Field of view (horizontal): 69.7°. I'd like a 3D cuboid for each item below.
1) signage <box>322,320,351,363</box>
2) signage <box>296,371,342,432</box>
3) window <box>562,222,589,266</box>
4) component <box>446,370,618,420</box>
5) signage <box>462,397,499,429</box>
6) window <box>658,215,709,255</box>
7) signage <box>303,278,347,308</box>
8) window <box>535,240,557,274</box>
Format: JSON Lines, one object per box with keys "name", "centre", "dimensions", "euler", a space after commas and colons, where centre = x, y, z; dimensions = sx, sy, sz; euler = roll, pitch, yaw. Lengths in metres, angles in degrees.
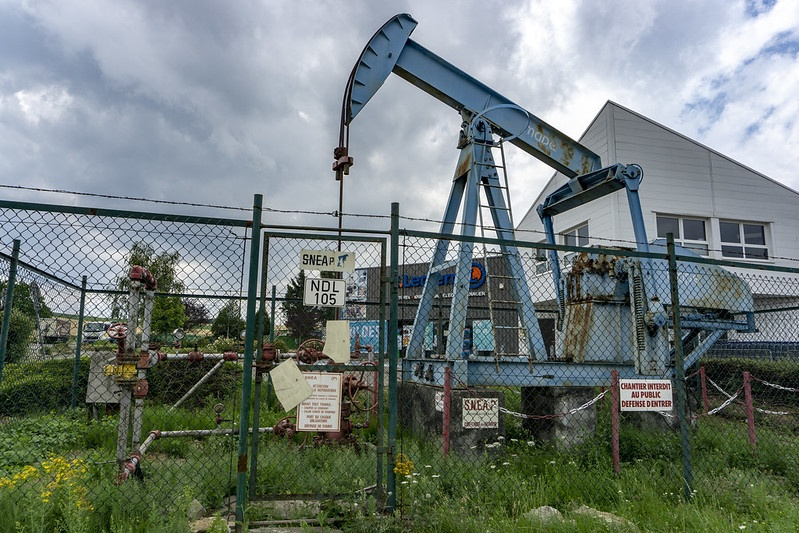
{"name": "signage", "centre": [-0.820, 0.988, 7.521], "dimensions": [0.360, 0.556, 0.023], "euler": [0, -3, 7]}
{"name": "signage", "centre": [-1.061, 1.761, 7.441], "dimensions": [0.681, 0.993, 0.041], "euler": [1, -11, -5]}
{"name": "window", "centre": [6.247, -0.631, 20.044], "dimensions": [0.045, 1.308, 1.224], "euler": [-9, -13, -23]}
{"name": "component", "centre": [2.321, 2.345, 10.195], "dimensions": [2.371, 1.028, 2.965], "euler": [-7, -12, 39]}
{"name": "signage", "centre": [1.230, 2.267, 8.827], "dimensions": [0.549, 0.455, 0.012], "euler": [0, -1, 9]}
{"name": "window", "centre": [8.321, -0.924, 16.936], "dimensions": [1.120, 1.065, 0.118], "euler": [2, -8, -19]}
{"name": "signage", "centre": [-0.979, 0.345, 7.457], "dimensions": [0.592, 0.488, 0.084], "euler": [0, -1, -2]}
{"name": "window", "centre": [3.355, -0.192, 13.129], "dimensions": [0.146, 1.189, 0.934], "euler": [-1, 2, -17]}
